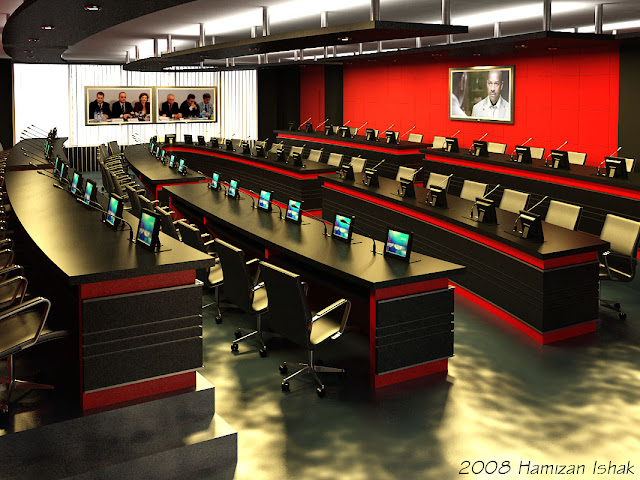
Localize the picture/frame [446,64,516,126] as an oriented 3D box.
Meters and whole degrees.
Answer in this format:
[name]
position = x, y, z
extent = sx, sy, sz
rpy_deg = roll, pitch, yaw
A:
[picture/frame]
position = 4.333, -3.937, 12.219
extent = 0.088, 1.495, 2.165
rpy_deg = -20, 26, -28
